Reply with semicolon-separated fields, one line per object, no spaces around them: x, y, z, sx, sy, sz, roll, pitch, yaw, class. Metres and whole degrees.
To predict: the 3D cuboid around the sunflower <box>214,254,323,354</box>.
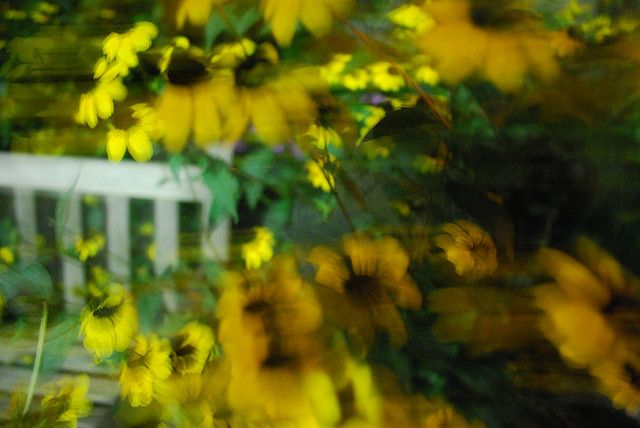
-0.038;0.066;0.532;0.080;0.064;0.026;-2;11;-5;sunflower

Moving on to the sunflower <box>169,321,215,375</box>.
-0.095;0.101;0.536;0.033;0.036;0.014;36;-5;9;sunflower

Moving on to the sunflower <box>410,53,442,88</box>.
0.086;-0.117;0.576;0.024;0.026;0.018;1;11;8;sunflower

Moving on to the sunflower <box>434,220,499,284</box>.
0.117;0.028;0.549;0.042;0.049;0.014;23;-23;-2;sunflower

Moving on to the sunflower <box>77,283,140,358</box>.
-0.159;0.080;0.538;0.045;0.051;0.018;1;11;9;sunflower

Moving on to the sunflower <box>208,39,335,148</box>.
-0.038;-0.094;0.551;0.043;0.095;0.071;-21;30;-37;sunflower

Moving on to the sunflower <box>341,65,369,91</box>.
0.029;-0.110;0.572;0.022;0.020;0.009;-1;11;-2;sunflower

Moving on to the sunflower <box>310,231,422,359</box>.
0.036;0.060;0.537;0.081;0.086;0.032;-3;11;-11;sunflower
